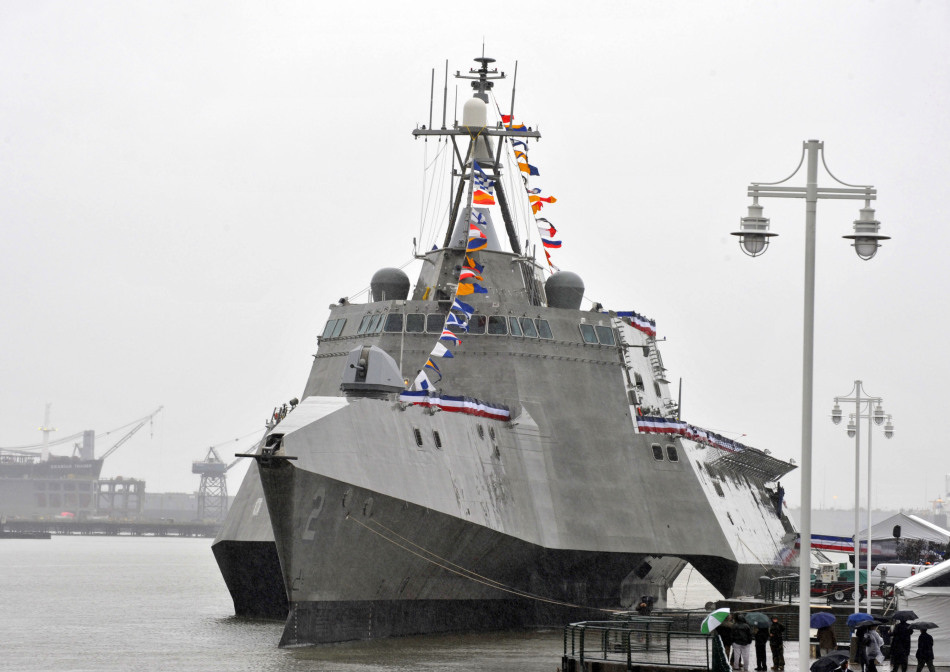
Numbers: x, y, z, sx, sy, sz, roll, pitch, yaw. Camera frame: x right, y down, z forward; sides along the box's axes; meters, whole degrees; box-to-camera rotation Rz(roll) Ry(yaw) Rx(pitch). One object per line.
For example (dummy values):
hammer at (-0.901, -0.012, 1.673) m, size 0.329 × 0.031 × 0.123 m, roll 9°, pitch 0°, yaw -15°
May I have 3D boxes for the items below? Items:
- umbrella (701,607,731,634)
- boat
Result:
umbrella at (5.886, 7.082, 38.992) m, size 0.592 × 0.544 × 1.152 m, roll 2°, pitch -6°, yaw 14°
boat at (0.663, 3.836, 57.371) m, size 10.724 × 15.697 × 29.500 m, roll -3°, pitch -6°, yaw 26°
